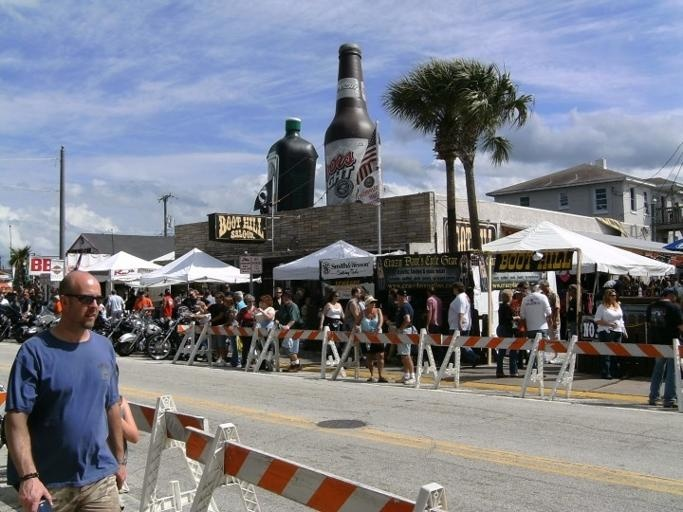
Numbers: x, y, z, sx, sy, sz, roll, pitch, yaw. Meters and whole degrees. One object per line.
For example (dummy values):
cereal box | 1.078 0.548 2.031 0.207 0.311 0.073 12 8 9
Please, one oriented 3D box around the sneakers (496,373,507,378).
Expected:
sneakers | 3.460 2.581 14.478 0.113 0.119 0.116 -3 -6 1

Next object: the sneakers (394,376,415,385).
sneakers | 1.308 2.579 13.863 0.432 0.176 0.151 0 -4 31

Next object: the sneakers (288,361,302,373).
sneakers | -1.185 2.733 16.534 0.134 0.284 0.409 -2 -9 14

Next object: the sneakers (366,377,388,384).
sneakers | 0.763 2.655 14.286 0.496 0.137 0.165 -4 -6 20
